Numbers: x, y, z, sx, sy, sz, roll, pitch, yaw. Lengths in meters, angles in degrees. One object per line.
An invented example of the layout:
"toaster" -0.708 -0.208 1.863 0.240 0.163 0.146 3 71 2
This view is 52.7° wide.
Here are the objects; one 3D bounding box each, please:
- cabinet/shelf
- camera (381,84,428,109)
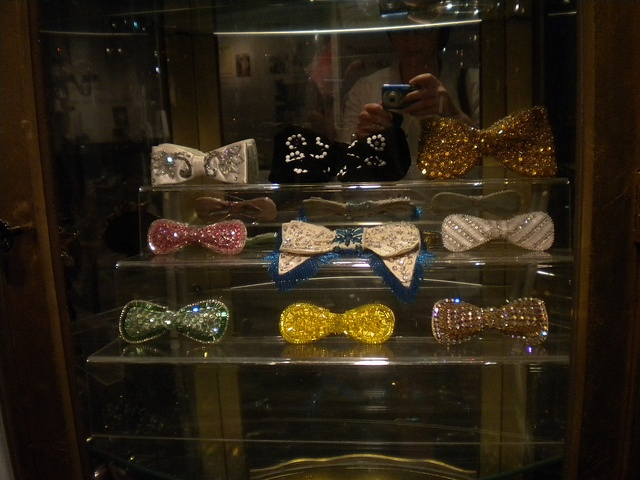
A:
"cabinet/shelf" 0.035 0.214 1.653 1.175 0.558 0.567 -3 -50 4
"camera" 0.197 -0.377 1.697 0.101 0.060 0.073 1 -85 6
